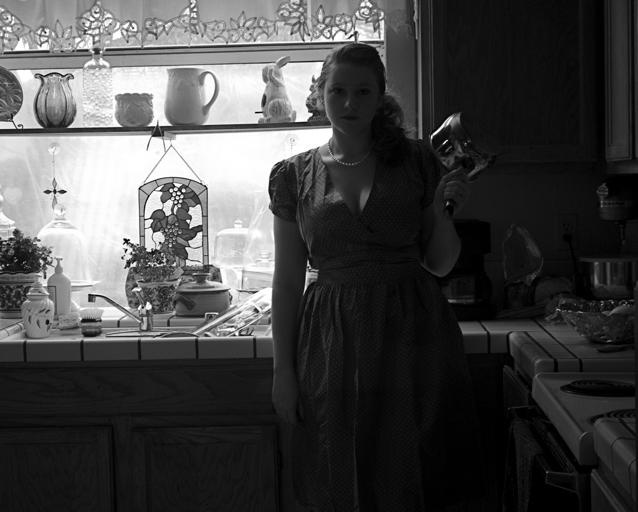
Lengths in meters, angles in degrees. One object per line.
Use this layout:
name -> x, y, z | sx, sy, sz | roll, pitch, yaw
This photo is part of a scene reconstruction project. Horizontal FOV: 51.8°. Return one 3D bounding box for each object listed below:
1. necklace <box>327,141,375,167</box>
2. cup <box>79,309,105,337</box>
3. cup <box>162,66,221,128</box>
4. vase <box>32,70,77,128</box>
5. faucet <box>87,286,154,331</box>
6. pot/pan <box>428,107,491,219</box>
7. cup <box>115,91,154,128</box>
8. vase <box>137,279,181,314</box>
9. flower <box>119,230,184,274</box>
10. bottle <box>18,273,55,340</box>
necklace -> 0.066, -0.251, 1.656 | 0.066, 0.064, 0.017 | -3, -10, 4
cup -> -0.785, 0.227, 2.261 | 0.069, 0.091, 0.106 | -2, -1, -21
cup -> -0.478, -0.592, 2.519 | 0.235, 0.219, 0.164 | 1, 2, -5
vase -> -1.001, -0.595, 2.490 | 0.132, 0.236, 0.106 | -2, -1, 22
faucet -> -0.740, 0.205, 2.452 | 0.226, 0.141, 0.304 | -2, 0, -20
pot/pan -> 0.334, -0.257, 1.546 | 0.148, 0.160, 0.086 | -2, -1, 20
cup -> -0.685, -0.529, 2.444 | 0.128, 0.105, 0.128 | 0, -1, 0
vase -> -0.601, 0.150, 2.462 | 0.130, 0.104, 0.130 | -1, -4, -1
flower -> -0.634, -0.014, 2.524 | 0.153, 0.098, 0.201 | -3, -12, 32
bottle -> -0.944, 0.181, 2.223 | 0.096, 0.178, 0.165 | -2, -1, -5
